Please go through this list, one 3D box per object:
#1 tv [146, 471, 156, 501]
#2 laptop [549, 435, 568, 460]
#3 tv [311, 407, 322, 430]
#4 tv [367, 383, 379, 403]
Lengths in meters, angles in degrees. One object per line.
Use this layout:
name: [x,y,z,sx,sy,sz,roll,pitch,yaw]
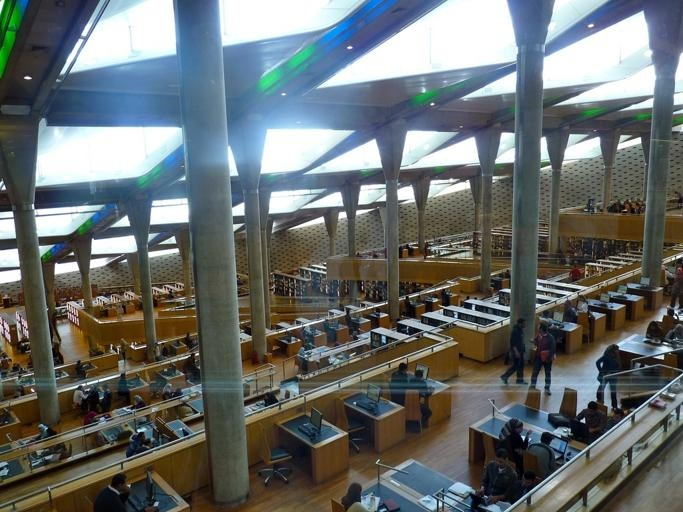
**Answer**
tv: [-4.022,4.860,10.984,0.109,0.288,0.305,-8,21,-18]
laptop: [4.691,4.122,11.263,0.377,0.237,0.356,6,11,42]
tv: [-0.623,3.988,12.786,0.336,0.395,0.405,-6,16,-33]
tv: [0.831,3.610,13.742,0.459,0.470,0.165,6,2,38]
